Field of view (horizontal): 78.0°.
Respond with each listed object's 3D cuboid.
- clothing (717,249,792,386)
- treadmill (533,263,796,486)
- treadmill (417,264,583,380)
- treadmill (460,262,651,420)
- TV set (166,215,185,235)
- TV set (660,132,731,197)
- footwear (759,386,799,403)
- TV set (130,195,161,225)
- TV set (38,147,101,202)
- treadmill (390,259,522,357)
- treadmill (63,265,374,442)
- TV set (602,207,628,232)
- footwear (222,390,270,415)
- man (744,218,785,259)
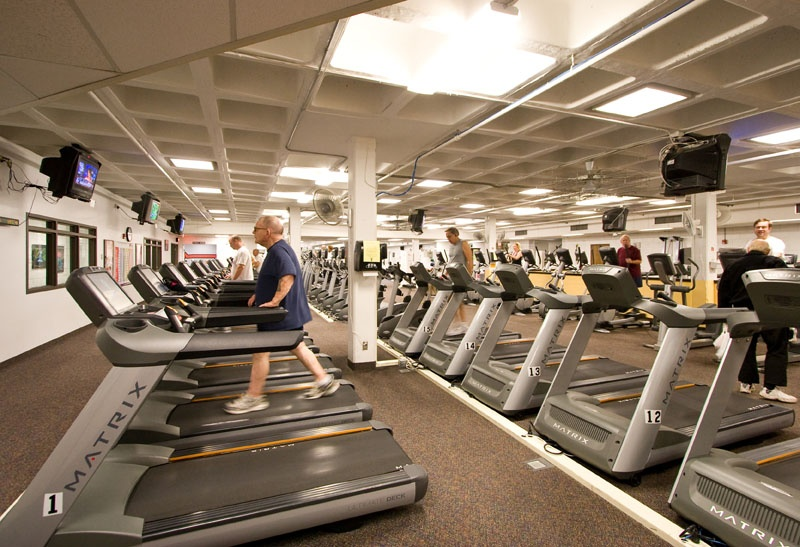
[{"bbox_3d":[3.674,0.530,5.158,0.669,1.429,0.467,0,20,33],"label":"clothing"},{"bbox_3d":[2.480,0.738,4.930,2.686,1.781,1.371,-5,7,-25],"label":"treadmill"},{"bbox_3d":[1.039,0.543,6.222,1.589,1.221,0.736,-2,8,-33],"label":"treadmill"},{"bbox_3d":[2.066,0.672,5.242,2.341,1.428,0.966,0,-1,-8],"label":"treadmill"},{"bbox_3d":[-6.413,-1.419,14.146,0.404,0.568,0.663,1,2,-19],"label":"TV set"},{"bbox_3d":[3.302,-1.283,5.693,0.520,0.673,0.729,4,0,-20],"label":"TV set"},{"bbox_3d":[3.873,1.253,5.123,0.374,0.142,0.139,-3,-7,34],"label":"footwear"},{"bbox_3d":[-5.170,-1.321,10.031,0.442,0.581,0.720,1,6,-11],"label":"TV set"},{"bbox_3d":[-4.429,-1.404,6.984,0.798,0.723,0.745,3,3,0],"label":"TV set"},{"bbox_3d":[0.877,0.595,6.749,1.207,1.263,0.891,15,-6,29],"label":"treadmill"},{"bbox_3d":[-1.310,0.733,4.100,2.249,1.176,1.669,0,3,-22],"label":"treadmill"},{"bbox_3d":[3.691,-0.932,8.495,0.325,0.420,0.416,4,15,16],"label":"TV set"},{"bbox_3d":[-1.400,1.205,4.535,0.381,0.153,0.160,4,-8,-21],"label":"footwear"},{"bbox_3d":[4.047,-0.305,5.562,0.443,0.594,0.420,4,-3,40],"label":"man"}]
